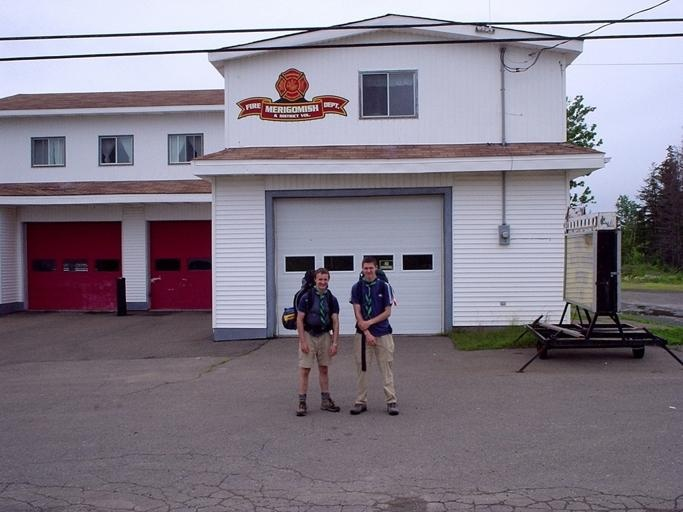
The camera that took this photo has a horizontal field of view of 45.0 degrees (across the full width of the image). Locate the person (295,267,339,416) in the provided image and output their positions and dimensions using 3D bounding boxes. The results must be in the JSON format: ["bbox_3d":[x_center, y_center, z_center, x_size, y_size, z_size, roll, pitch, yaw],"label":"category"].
[{"bbox_3d":[-0.425,1.426,13.826,0.894,2.409,0.758,-6,14,-19],"label":"person"}]

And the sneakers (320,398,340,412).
[{"bbox_3d":[-0.207,2.510,13.893,0.375,0.254,0.139,0,1,3],"label":"sneakers"}]

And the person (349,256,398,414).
[{"bbox_3d":[0.542,1.327,13.766,0.816,2.573,0.926,-1,13,3],"label":"person"}]

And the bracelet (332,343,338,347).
[{"bbox_3d":[-0.106,1.464,13.705,0.073,0.099,0.054,1,-6,-18],"label":"bracelet"}]

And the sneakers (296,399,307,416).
[{"bbox_3d":[-0.667,2.469,13.785,0.194,0.300,0.450,-2,14,-3],"label":"sneakers"}]

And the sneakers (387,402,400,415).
[{"bbox_3d":[0.855,2.499,13.641,0.194,0.188,0.178,0,13,6],"label":"sneakers"}]
